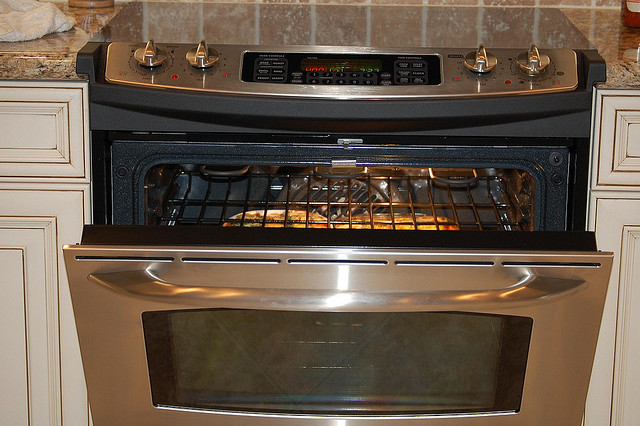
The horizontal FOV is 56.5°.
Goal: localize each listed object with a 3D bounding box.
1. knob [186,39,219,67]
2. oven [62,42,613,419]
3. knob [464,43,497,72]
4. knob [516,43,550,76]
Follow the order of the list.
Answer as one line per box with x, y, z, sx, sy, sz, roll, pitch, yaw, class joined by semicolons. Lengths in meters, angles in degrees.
-0.256;-0.340;1.296;0.058;0.026;0.074;-1;36;-5;knob
0.052;0.119;1.696;1.293;0.935;0.919;1;30;2;oven
0.355;-0.351;1.310;0.076;0.034;0.097;4;47;10;knob
0.461;-0.325;1.289;0.078;0.056;0.072;4;37;10;knob
